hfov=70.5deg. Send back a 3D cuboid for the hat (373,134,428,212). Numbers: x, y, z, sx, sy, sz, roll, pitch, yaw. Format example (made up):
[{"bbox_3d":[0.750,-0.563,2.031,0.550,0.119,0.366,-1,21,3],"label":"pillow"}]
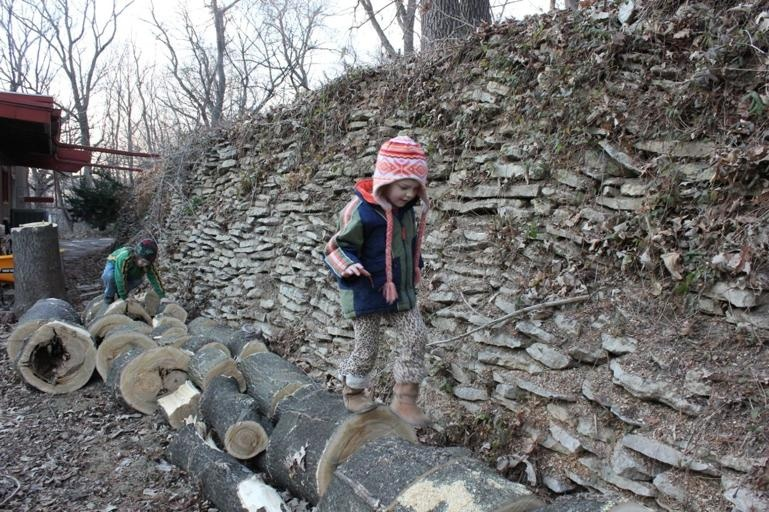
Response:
[{"bbox_3d":[0.144,-0.771,4.831,0.526,0.653,0.435,-1,18,-38],"label":"hat"}]

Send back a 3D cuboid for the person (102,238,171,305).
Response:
[{"bbox_3d":[-3.969,0.220,8.505,0.853,1.001,0.843,-7,12,-33],"label":"person"}]

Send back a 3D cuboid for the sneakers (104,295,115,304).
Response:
[{"bbox_3d":[-4.313,0.679,8.447,0.159,0.165,0.124,3,-9,-44],"label":"sneakers"}]

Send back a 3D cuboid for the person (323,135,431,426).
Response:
[{"bbox_3d":[-0.051,0.226,4.829,0.953,2.554,0.689,-2,10,-8],"label":"person"}]
